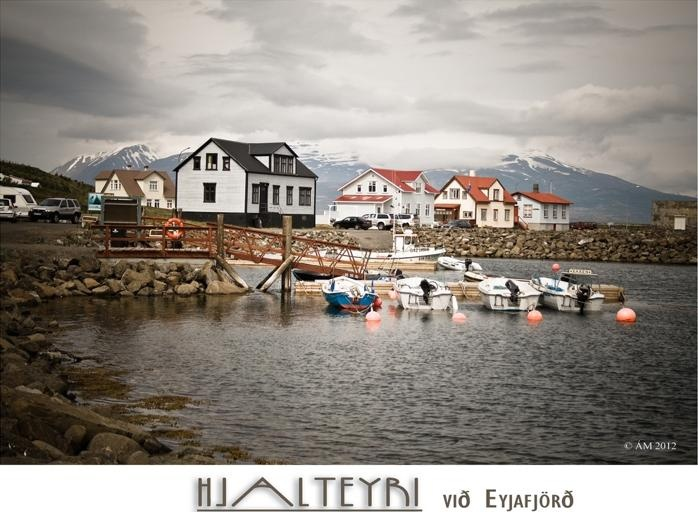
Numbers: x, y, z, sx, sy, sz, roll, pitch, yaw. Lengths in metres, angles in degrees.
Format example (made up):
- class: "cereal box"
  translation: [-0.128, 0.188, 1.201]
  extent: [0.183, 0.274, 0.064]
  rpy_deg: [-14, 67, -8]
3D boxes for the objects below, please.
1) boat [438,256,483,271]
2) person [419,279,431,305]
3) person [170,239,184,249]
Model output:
- class: "boat"
  translation: [7.632, 0.605, 54.593]
  extent: [2.185, 0.732, 1.363]
  rpy_deg: [11, 8, 37]
- class: "person"
  translation: [3.573, 1.673, 36.112]
  extent: [0.386, 1.129, 0.385]
  rpy_deg: [-4, -32, 3]
- class: "person"
  translation: [-9.051, -0.528, 40.146]
  extent: [0.473, 0.537, 0.858]
  rpy_deg: [1, 3, 14]
